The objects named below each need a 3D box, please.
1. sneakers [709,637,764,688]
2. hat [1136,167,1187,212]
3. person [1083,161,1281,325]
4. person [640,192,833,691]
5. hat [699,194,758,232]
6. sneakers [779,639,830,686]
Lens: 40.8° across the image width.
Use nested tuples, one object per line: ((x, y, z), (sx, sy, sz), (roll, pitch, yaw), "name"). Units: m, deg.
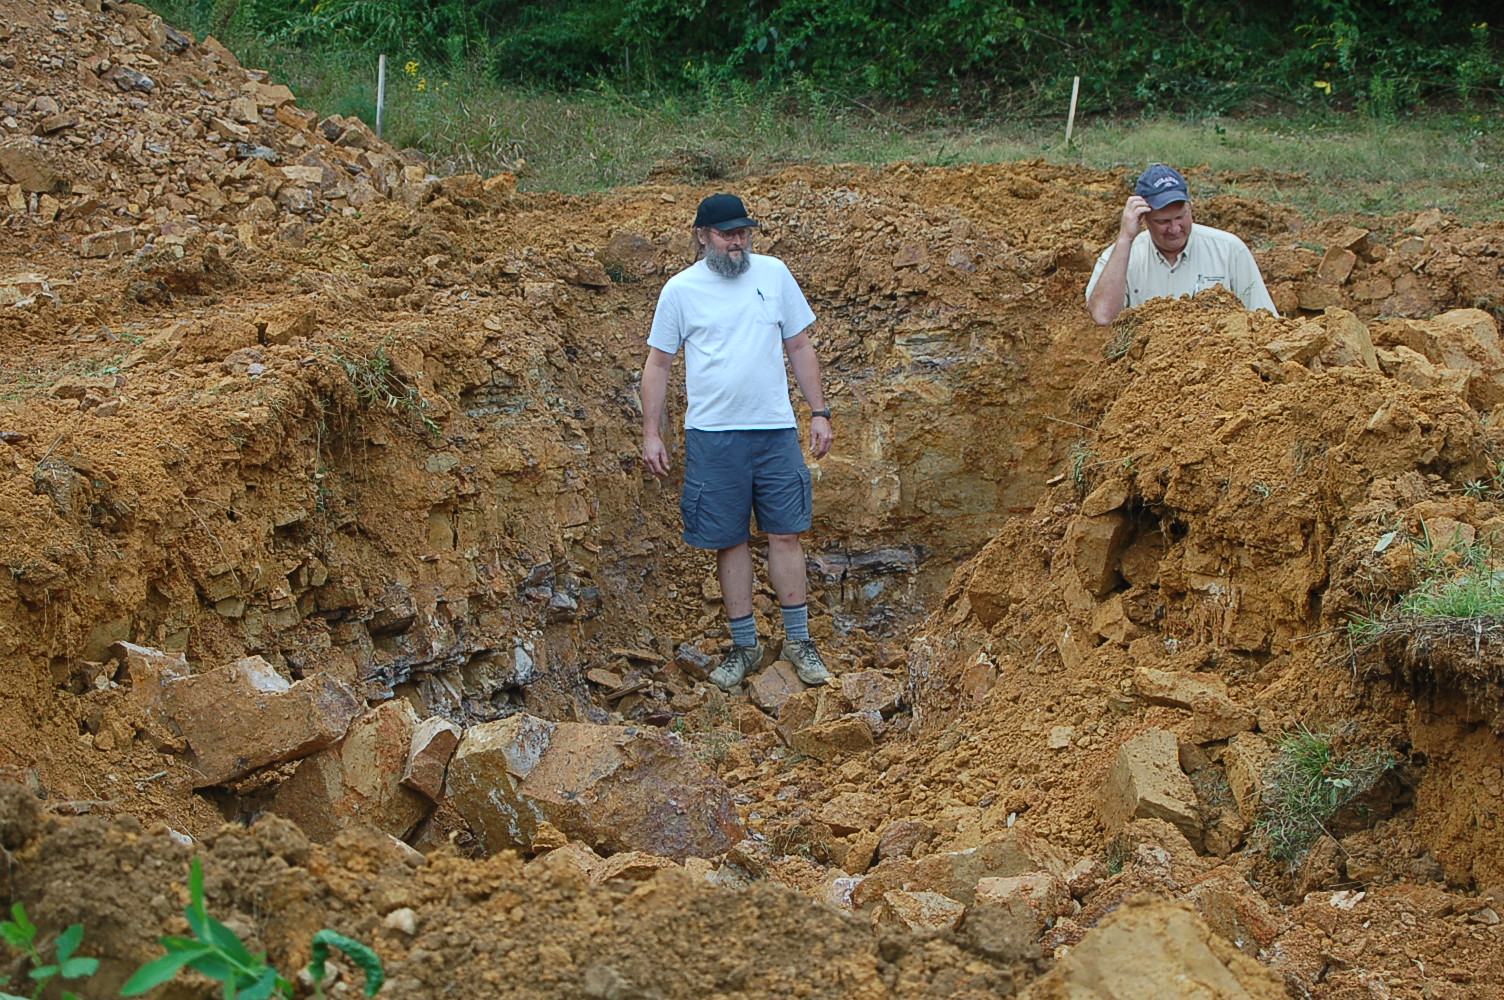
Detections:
((-0.114, 1.016, 12.305), (0.169, 0.189, 0.399), (25, 50, 27), "sneakers")
((2.224, -1.685, 11.054), (0.190, 0.176, 0.289), (-5, 15, 0), "hat")
((2.348, -1.385, 11.144), (0.930, 0.852, 0.289), (-1, 20, -4), "person")
((-0.078, -0.327, 11.908), (1.126, 2.846, 0.552), (1, 19, 2), "person")
((-0.173, -1.659, 11.666), (0.287, 0.190, 0.337), (-1, 21, -4), "hat")
((0.322, 0.976, 12.207), (0.153, 0.165, 0.342), (-17, 33, -30), "sneakers")
